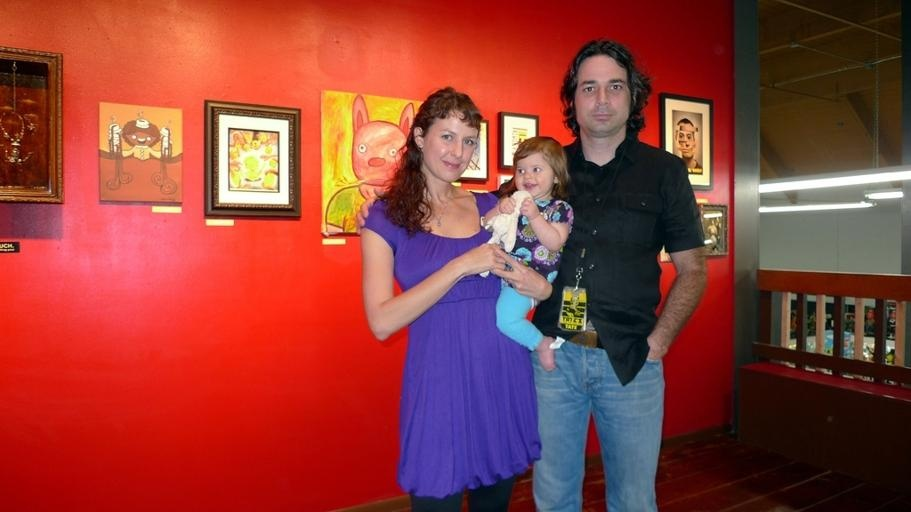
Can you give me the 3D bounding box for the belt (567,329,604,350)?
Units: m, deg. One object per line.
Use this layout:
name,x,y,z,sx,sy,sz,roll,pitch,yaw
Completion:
belt,1.011,0.643,4.939,0.156,0.034,0.153,8,19,33

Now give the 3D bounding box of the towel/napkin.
towel/napkin,0.369,-0.199,4.883,0.384,0.608,0.208,35,-2,5

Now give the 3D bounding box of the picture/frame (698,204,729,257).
picture/frame,2.774,-0.277,6.929,0.624,0.659,0.071,-4,2,-31

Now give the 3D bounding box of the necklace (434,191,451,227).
necklace,-0.094,-0.355,4.839,0.091,0.287,0.081,0,-27,-3
